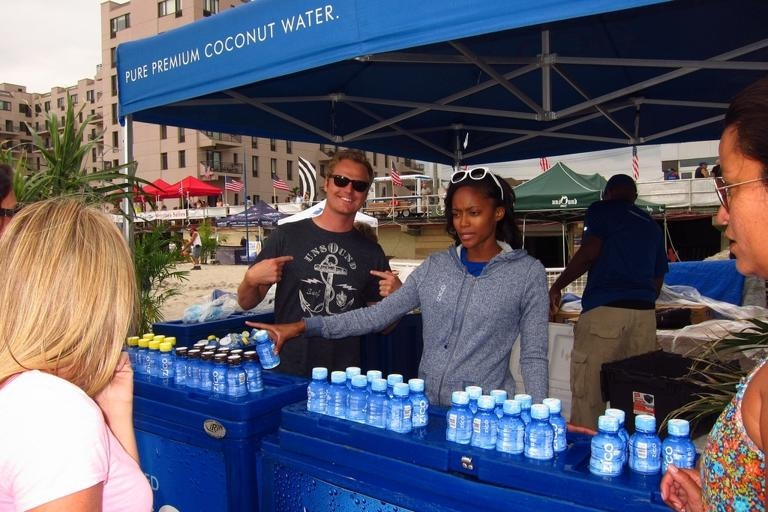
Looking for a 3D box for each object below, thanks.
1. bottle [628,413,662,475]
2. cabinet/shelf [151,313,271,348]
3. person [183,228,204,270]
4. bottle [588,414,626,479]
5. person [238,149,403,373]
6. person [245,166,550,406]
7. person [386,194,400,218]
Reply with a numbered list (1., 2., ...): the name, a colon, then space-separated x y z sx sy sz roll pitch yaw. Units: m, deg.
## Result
1. bottle: 1.181 0.839 2.901 0.165 0.221 0.149 -1 -2 18
2. cabinet/shelf: -1.347 0.622 5.434 0.860 0.232 0.324 -2 1 -14
3. person: -8.849 -0.410 30.038 0.935 1.996 0.821 -6 -6 14
4. bottle: 0.990 0.842 2.878 0.163 0.227 0.156 3 0 0
5. person: -0.427 0.134 4.633 1.155 1.563 0.837 8 7 -13
6. person: 0.347 0.156 3.939 1.271 1.366 0.606 0 5 15
7. person: 0.484 -2.357 31.531 0.886 0.943 1.121 -1 -1 11
